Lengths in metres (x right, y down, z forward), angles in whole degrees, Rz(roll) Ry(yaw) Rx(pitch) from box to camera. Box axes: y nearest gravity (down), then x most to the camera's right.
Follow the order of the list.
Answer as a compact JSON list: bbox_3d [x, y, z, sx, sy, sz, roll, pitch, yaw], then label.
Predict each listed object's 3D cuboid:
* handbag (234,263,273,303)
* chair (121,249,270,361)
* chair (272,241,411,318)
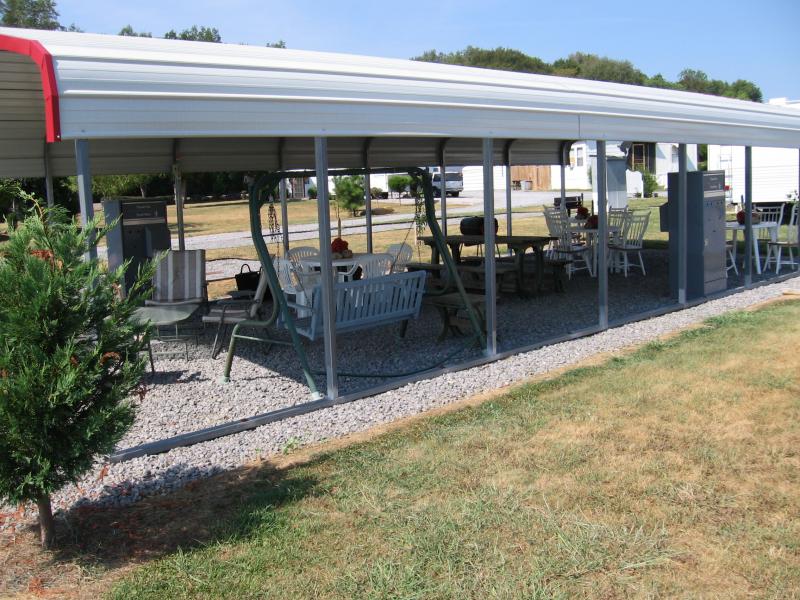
[{"bbox_3d":[-1.920,-0.203,8.462,0.610,0.565,0.254,-5,13,-27],"label":"handbag"},{"bbox_3d":[-2.378,0.043,8.077,1.237,1.190,1.776,0,10,2],"label":"chair"},{"bbox_3d":[-0.874,-0.378,9.322,1.774,0.850,0.953,-8,10,-39],"label":"chair"}]
